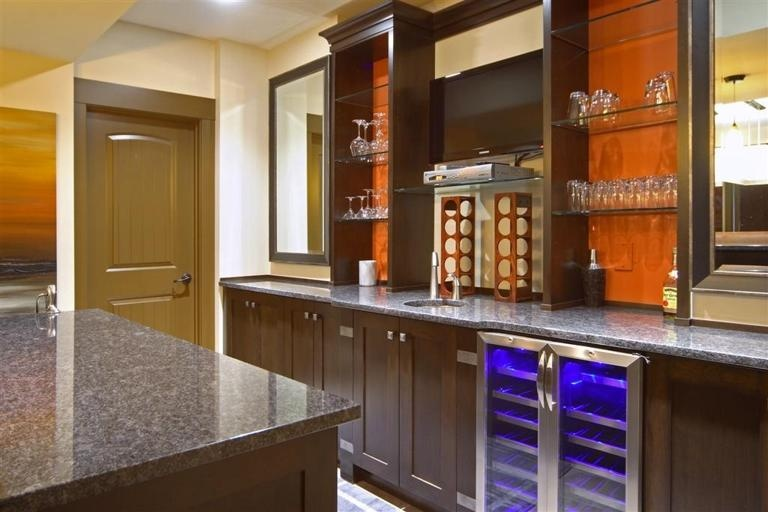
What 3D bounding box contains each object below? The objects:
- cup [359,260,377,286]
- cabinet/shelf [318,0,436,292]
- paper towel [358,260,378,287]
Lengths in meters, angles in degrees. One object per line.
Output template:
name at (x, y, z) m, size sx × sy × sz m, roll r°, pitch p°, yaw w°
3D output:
cup at (-0.128, 0.129, 4.035) m, size 0.152 × 0.184 × 0.172 m, roll 0°, pitch -2°, yaw -8°
cabinet/shelf at (-0.002, -0.747, 3.890) m, size 0.660 × 2.001 × 0.991 m, roll -7°, pitch 17°, yaw -34°
paper towel at (-0.124, 0.127, 4.035) m, size 0.151 × 0.188 × 0.175 m, roll 0°, pitch -1°, yaw -14°
